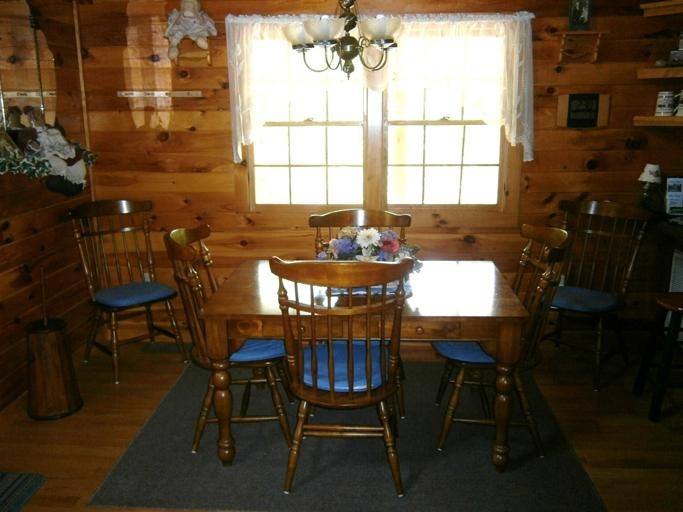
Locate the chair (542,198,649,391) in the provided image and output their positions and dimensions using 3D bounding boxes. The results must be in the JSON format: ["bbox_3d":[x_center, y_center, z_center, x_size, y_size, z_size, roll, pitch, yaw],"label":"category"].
[{"bbox_3d":[1.745,0.232,4.063,0.756,1.147,0.709,12,20,41],"label":"chair"}]

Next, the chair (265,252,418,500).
[{"bbox_3d":[0.018,0.562,3.004,0.690,1.248,0.697,1,19,4],"label":"chair"}]

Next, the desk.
[{"bbox_3d":[0.184,0.866,3.475,2.056,0.851,1.208,0,20,2],"label":"desk"}]
